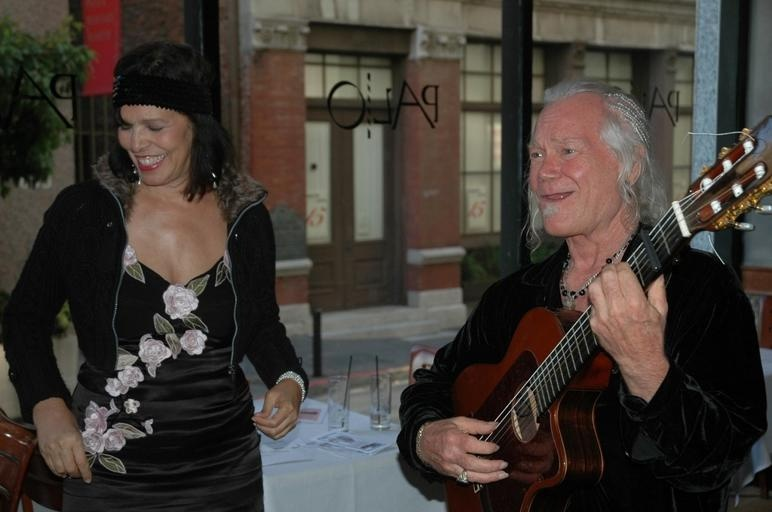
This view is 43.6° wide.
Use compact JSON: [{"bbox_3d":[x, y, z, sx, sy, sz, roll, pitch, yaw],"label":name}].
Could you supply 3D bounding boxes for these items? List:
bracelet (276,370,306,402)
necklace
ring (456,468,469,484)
[{"bbox_3d":[-0.374,0.523,3.908,0.109,0.121,0.034,2,-21,-34],"label":"bracelet"},{"bbox_3d":[0.747,0.059,3.620,0.206,0.300,0.097,28,14,9],"label":"necklace"},{"bbox_3d":[0.293,0.839,3.703,0.017,0.037,0.052,4,39,-20],"label":"ring"}]
